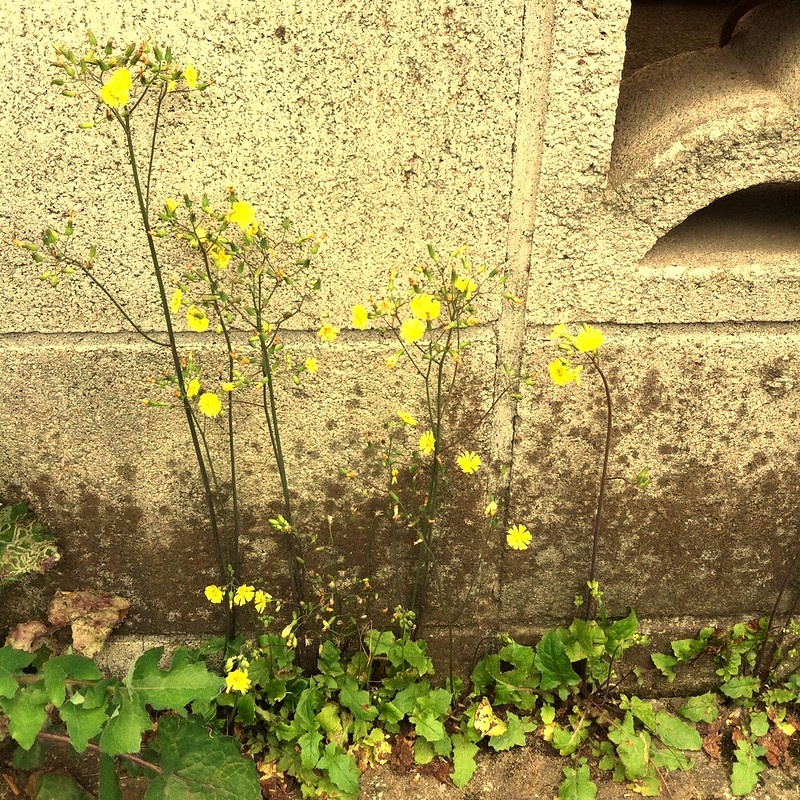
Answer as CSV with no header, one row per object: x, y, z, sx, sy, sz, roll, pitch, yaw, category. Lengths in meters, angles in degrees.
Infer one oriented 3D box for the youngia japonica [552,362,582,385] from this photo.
0.381,-0.073,2.407,0.069,0.065,0.033,17,13,8,youngia japonica

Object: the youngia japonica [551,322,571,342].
0.363,-0.154,2.383,0.056,0.035,0.059,-9,7,30,youngia japonica
